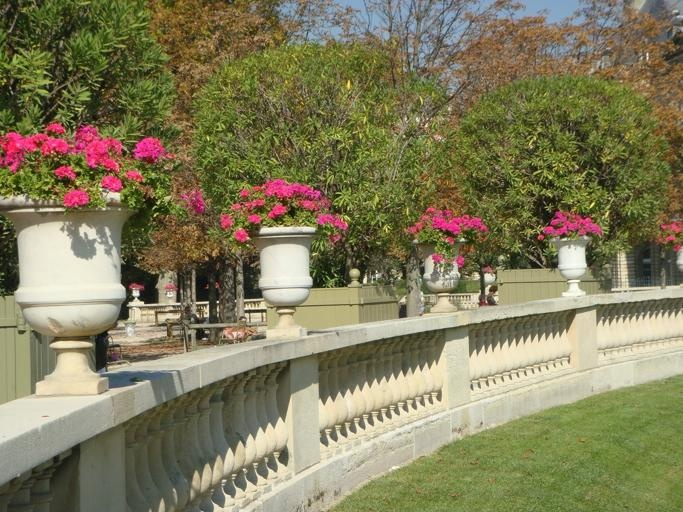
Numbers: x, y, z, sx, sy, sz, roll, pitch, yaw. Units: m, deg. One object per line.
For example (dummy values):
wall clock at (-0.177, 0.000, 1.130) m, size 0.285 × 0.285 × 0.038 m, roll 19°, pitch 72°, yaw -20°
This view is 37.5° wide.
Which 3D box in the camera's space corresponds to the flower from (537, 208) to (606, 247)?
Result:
flower at (3.739, -0.416, 15.998) m, size 0.841 × 0.399 × 0.863 m, roll 4°, pitch -2°, yaw -19°

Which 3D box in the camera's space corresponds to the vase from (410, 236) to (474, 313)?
vase at (1.429, 0.310, 14.350) m, size 0.873 × 1.201 × 0.933 m, roll 0°, pitch -13°, yaw -1°

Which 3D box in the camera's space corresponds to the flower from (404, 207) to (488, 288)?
flower at (1.557, -0.167, 15.156) m, size 1.018 × 1.277 × 1.133 m, roll 1°, pitch -9°, yaw -2°

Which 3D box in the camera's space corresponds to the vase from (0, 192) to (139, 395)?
vase at (-2.314, 0.320, 8.656) m, size 1.044 × 1.706 × 0.592 m, roll -1°, pitch 2°, yaw -13°

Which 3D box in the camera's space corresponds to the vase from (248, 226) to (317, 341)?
vase at (-0.626, 0.279, 11.296) m, size 0.680 × 1.221 × 0.627 m, roll -1°, pitch 2°, yaw -2°

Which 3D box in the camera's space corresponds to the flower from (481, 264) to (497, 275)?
flower at (5.693, 0.503, 39.351) m, size 0.588 × 0.644 × 0.715 m, roll 2°, pitch -2°, yaw -2°

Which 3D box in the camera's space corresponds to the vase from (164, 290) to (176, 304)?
vase at (-7.678, 1.840, 45.363) m, size 0.547 × 0.682 × 0.563 m, roll -1°, pitch 3°, yaw -20°

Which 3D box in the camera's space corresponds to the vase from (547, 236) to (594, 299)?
vase at (3.698, 0.187, 16.223) m, size 0.698 × 0.940 × 0.724 m, roll -4°, pitch -9°, yaw 29°

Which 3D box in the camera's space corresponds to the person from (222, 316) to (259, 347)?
person at (-2.070, 1.529, 20.088) m, size 0.718 × 0.495 × 0.960 m, roll -1°, pitch 3°, yaw 3°

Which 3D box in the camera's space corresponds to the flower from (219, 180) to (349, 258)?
flower at (-0.578, -0.501, 11.610) m, size 0.923 × 0.526 × 0.949 m, roll -4°, pitch -8°, yaw 41°
